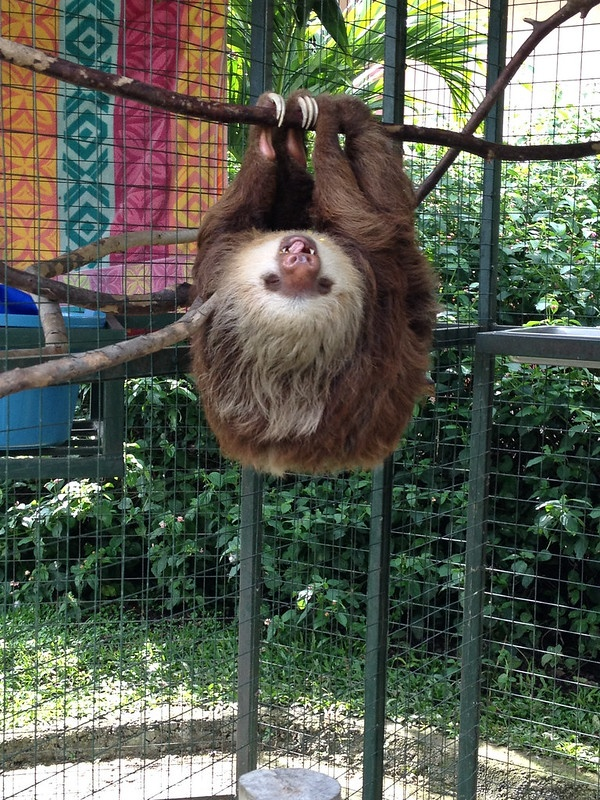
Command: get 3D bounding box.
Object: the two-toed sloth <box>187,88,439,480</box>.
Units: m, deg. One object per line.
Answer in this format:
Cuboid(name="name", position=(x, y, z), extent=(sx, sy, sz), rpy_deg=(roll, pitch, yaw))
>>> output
Cuboid(name="two-toed sloth", position=(0.011, -0.171, 1.230), extent=(0.333, 0.534, 0.226), rpy_deg=(-2, -10, 7))
